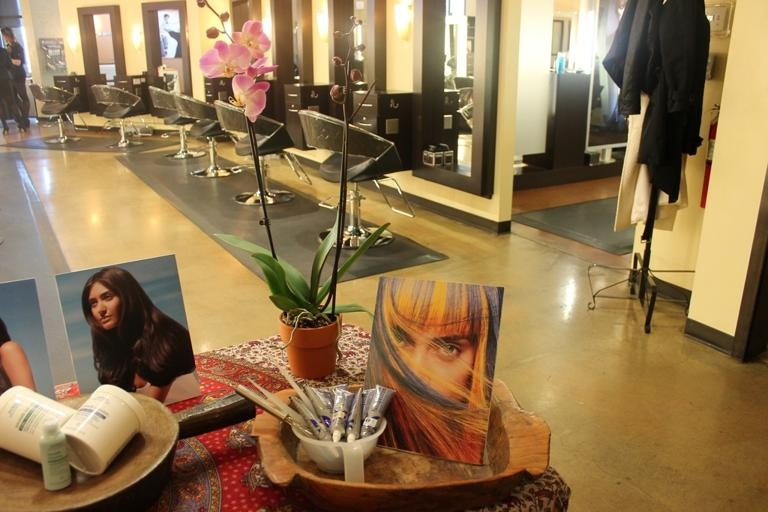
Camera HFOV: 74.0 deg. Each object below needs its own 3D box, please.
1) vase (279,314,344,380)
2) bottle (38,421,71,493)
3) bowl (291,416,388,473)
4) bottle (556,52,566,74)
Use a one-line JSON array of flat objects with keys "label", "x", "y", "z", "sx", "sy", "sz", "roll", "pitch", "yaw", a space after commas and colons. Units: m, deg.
[{"label": "vase", "x": -0.238, "y": 0.315, "z": 1.763, "sx": 0.195, "sy": 0.144, "sz": 0.173, "roll": 5, "pitch": 17, "yaw": 13}, {"label": "bottle", "x": -0.726, "y": 0.433, "z": 1.109, "sx": 0.061, "sy": 0.158, "sz": 0.046, "roll": -16, "pitch": 24, "yaw": -34}, {"label": "bowl", "x": -0.102, "y": 0.461, "z": 1.231, "sx": 0.149, "sy": 0.056, "sz": 0.144, "roll": 0, "pitch": 20, "yaw": 0}, {"label": "bottle", "x": 2.183, "y": -2.364, "z": 6.249, "sx": 0.202, "sy": 0.227, "sz": 0.073, "roll": -15, "pitch": 24, "yaw": -34}]
